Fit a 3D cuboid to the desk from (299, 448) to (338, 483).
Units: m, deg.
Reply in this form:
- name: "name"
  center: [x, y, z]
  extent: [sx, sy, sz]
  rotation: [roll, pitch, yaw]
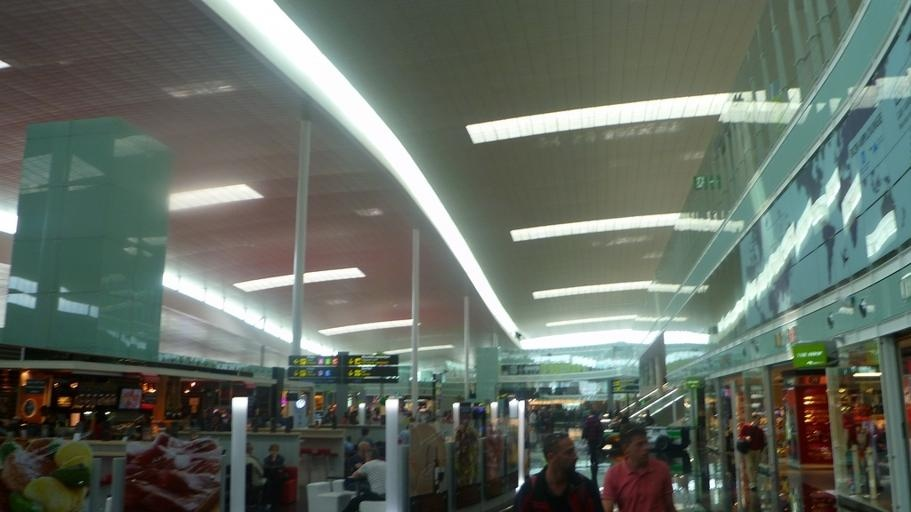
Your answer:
- name: "desk"
  center: [-4.441, 6.983, 23.605]
  extent: [0.651, 0.805, 0.601]
  rotation: [-12, -10, 16]

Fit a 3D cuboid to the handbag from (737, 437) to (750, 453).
- name: "handbag"
  center: [6.762, 4.432, 16.471]
  extent: [0.352, 0.300, 0.312]
  rotation: [-1, -17, 1]
